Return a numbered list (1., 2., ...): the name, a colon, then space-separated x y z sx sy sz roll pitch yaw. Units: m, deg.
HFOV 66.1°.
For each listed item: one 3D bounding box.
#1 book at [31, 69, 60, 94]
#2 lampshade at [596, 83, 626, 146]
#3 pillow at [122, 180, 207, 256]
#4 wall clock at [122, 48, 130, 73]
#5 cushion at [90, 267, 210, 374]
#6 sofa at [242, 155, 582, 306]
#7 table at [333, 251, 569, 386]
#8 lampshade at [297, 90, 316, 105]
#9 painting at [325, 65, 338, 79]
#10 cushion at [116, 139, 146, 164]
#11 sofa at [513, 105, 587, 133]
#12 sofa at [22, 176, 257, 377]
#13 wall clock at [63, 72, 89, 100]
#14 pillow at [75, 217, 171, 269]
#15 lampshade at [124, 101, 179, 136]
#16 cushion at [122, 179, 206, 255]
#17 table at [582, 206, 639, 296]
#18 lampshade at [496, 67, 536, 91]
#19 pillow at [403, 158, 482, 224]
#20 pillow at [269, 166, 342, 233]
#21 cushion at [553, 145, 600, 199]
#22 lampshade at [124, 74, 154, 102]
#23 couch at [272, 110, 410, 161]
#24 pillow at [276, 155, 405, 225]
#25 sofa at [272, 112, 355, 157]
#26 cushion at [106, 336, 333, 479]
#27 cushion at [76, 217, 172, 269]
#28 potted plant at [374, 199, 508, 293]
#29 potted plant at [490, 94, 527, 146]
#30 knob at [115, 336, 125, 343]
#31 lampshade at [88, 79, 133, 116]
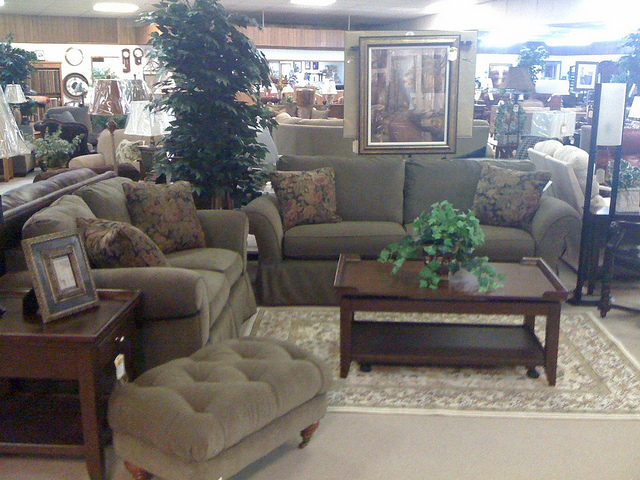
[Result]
1. book: -6.969 -4.017 12.448 0.701 0.599 0.235 -7 18 -17
2. lampshade: 2.097 -0.894 3.508 0.204 0.429 0.125 0 18 6
3. pillow: -1.070 -0.148 3.474 0.299 0.509 0.593 14 17 23
4. wall clock: -5.110 -4.746 12.964 0.224 0.613 0.103 -7 19 -18
5. cushion: -0.885 0.357 2.771 0.590 0.518 0.604 -2 7 -9
6. sofa: 0.710 -0.117 4.099 2.650 1.045 0.941 1 19 12
7. table: 0.771 0.449 3.037 1.320 0.654 0.582 0 17 5
8. lampshade: -0.242 -2.695 9.307 0.330 0.345 0.316 1 17 -1
9. painting: 0.316 -4.684 13.603 0.354 0.445 0.414 1 29 1
10. cushion: -2.596 -1.220 6.750 0.381 0.264 0.508 -7 18 -19
11. sofa: 3.712 -1.930 7.720 0.879 0.330 1.558 7 18 25
12. sofa: -1.072 0.217 3.233 1.053 1.016 1.676 -1 14 -2
13. wall clock: -6.188 -3.934 12.522 0.626 0.630 0.324 2 18 11
14. pillow: -1.119 0.032 2.680 0.525 0.274 0.213 2 18 10
15. lampshade: -1.778 -1.254 5.077 0.481 0.353 0.798 -7 18 -19
16. cushion: -1.054 -0.171 3.370 0.160 0.486 0.540 -21 -9 43
17. table: 2.227 0.105 3.799 0.322 0.717 0.353 8 20 27
18. lampshade: 2.753 -2.225 6.800 0.371 0.195 0.355 -3 20 -2
19. pillow: 1.050 -0.397 4.472 0.596 0.558 0.251 0 -6 1
20. pillow: -0.112 -0.307 3.985 0.518 0.470 0.168 -8 -9 -11
21. cushion: 2.098 -0.544 4.027 0.169 0.398 0.464 -10 14 9
22. lampshade: -1.973 -1.629 5.386 0.359 0.346 0.345 -5 18 -10
23. couch: -0.029 -1.376 6.498 1.167 0.505 4.812 -2 16 -5
24. pillow: 0.204 -0.471 4.266 1.305 0.680 0.359 -1 3 -34
25. sofa: -0.049 -1.366 6.290 1.152 0.495 0.629 3 29 3
26. cushion: -0.420 0.733 2.199 0.920 0.305 0.574 -12 20 -34
27. cushion: -1.070 0.034 2.627 0.323 0.165 0.322 14 -4 -10
28. potted plant: 0.733 0.006 2.948 0.775 0.494 0.496 5 18 19
29. potted plant: 2.735 -1.701 7.052 0.396 0.647 0.529 5 18 20
30. knob: -0.918 0.455 2.252 0.038 0.016 0.045 0 9 -6
31. lampshade: -2.064 -1.400 4.809 0.379 0.388 0.366 4 25 0
